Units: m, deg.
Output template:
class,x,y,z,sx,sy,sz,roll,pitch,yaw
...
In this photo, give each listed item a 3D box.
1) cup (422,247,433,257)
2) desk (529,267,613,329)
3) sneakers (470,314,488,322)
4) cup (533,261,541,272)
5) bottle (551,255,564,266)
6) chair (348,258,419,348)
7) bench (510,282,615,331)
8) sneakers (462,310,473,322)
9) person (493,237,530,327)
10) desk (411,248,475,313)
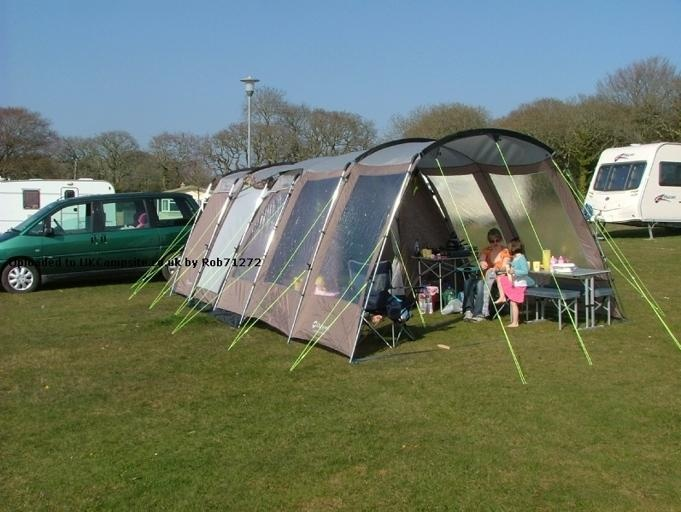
class,x,y,z,sx,sy,sz,roll,pitch,yaw
cup,1.508,-0.062,9.480,0.116,0.155,0.157,1,-1,-4
desk,3.397,0.563,8.133,0.954,0.692,1.035,-5,6,-31
sneakers,2.126,0.947,8.491,0.192,0.085,0.101,1,0,-8
cup,3.000,0.158,8.504,0.143,0.179,0.136,2,-3,0
bottle,3.288,0.061,8.379,0.161,0.104,0.160,1,5,0
chair,0.628,0.629,7.179,0.588,0.984,0.704,-3,-14,25
bench,3.413,0.669,8.151,0.667,0.429,0.988,1,-2,-26
sneakers,1.985,0.921,8.607,0.133,0.133,0.282,-2,-6,15
person,2.584,0.376,8.240,0.438,1.271,0.591,-1,10,4
desk,1.757,0.448,9.319,1.361,1.360,1.482,0,0,11
